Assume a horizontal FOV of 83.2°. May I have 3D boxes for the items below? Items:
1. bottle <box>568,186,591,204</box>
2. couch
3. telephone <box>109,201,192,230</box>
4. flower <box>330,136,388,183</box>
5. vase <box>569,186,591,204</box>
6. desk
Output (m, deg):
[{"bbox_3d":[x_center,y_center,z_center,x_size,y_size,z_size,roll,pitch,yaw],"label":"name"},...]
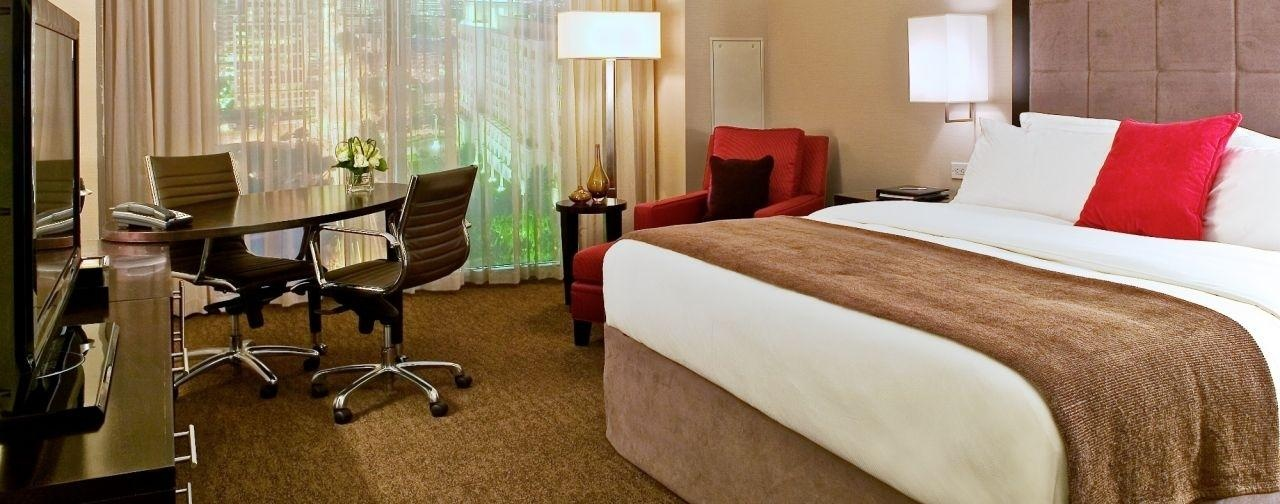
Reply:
[{"bbox_3d":[-0.601,-0.549,7.171,0.230,0.115,0.217,0,0,0],"label":"bottle"},{"bbox_3d":[0.716,-0.226,7.143,2.225,1.566,1.609,-27,25,-37],"label":"couch"},{"bbox_3d":[-3.493,-0.246,5.169,0.433,0.105,0.263,1,7,0],"label":"telephone"},{"bbox_3d":[-2.507,-0.775,6.423,0.579,0.378,0.512,5,3,20],"label":"flower"},{"bbox_3d":[-0.596,-0.556,7.165,0.218,0.097,0.205,0,0,3],"label":"vase"},{"bbox_3d":[-2.808,0.366,5.849,2.698,0.973,1.296,-7,-12,25],"label":"desk"}]
